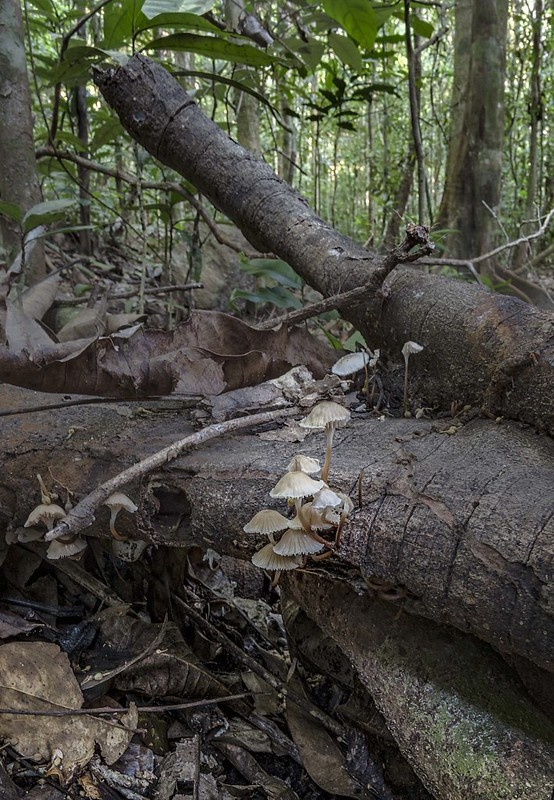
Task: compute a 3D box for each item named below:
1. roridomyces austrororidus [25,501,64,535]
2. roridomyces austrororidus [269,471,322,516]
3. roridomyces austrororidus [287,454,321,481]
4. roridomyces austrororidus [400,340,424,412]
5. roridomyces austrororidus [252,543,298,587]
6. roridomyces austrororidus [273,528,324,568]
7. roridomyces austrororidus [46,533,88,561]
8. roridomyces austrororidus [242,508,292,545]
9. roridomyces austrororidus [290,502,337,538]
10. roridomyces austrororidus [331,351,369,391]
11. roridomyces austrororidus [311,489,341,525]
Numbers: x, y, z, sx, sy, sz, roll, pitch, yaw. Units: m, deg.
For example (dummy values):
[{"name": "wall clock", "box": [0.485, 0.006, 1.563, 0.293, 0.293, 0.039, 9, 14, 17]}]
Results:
[{"name": "roridomyces austrororidus", "box": [-0.755, 0.367, 2.183, 0.125, 0.069, 0.124, 1, 9, 32]}, {"name": "roridomyces austrororidus", "box": [0.056, 0.259, 1.821, 0.117, 0.090, 0.113, -11, 7, 19]}, {"name": "roridomyces austrororidus", "box": [0.084, 0.190, 1.859, 0.073, 0.031, 0.069, -9, 29, -26]}, {"name": "roridomyces austrororidus", "box": [0.515, -0.087, 2.520, 0.075, 0.268, 0.202, 5, 11, 11]}, {"name": "roridomyces austrororidus", "box": [-0.016, 0.508, 2.015, 0.141, 0.126, 0.135, 6, 0, -4]}, {"name": "roridomyces austrororidus", "box": [0.054, 0.414, 1.880, 0.096, 0.037, 0.098, 1, 5, 24]}, {"name": "roridomyces austrororidus", "box": [-0.735, 0.503, 2.278, 0.168, 0.050, 0.160, -1, -4, -19]}, {"name": "roridomyces austrororidus", "box": [-0.032, 0.344, 1.883, 0.112, 0.084, 0.108, -2, 3, 16]}, {"name": "roridomyces austrororidus", "box": [0.107, 0.337, 1.861, 0.100, 0.058, 0.126, -29, -51, 32]}, {"name": "roridomyces austrororidus", "box": [0.299, -0.128, 2.615, 0.136, 0.120, 0.261, 4, 11, 7]}, {"name": "roridomyces austrororidus", "box": [0.138, 0.293, 1.824, 0.079, 0.113, 0.124, 4, 11, 4]}]
